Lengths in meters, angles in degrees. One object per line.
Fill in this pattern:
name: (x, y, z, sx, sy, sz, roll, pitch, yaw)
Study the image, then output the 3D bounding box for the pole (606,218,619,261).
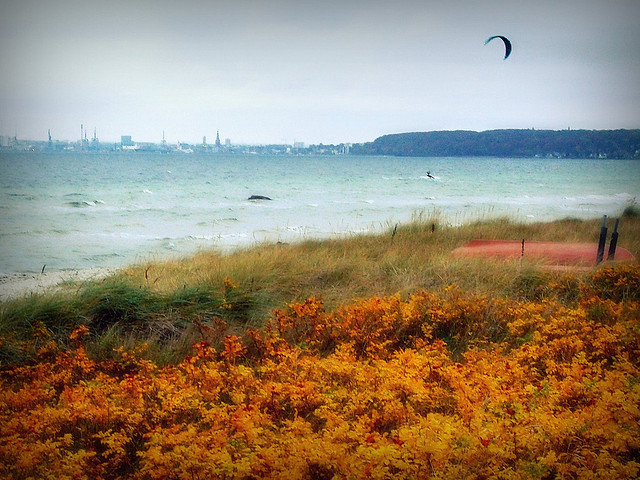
pole: (3.976, -0.017, 8.058, 0.109, 0.600, 0.733, 5, 9, 26)

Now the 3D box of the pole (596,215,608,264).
pole: (3.904, -0.036, 8.210, 0.098, 0.664, 0.902, 4, 9, 25)
